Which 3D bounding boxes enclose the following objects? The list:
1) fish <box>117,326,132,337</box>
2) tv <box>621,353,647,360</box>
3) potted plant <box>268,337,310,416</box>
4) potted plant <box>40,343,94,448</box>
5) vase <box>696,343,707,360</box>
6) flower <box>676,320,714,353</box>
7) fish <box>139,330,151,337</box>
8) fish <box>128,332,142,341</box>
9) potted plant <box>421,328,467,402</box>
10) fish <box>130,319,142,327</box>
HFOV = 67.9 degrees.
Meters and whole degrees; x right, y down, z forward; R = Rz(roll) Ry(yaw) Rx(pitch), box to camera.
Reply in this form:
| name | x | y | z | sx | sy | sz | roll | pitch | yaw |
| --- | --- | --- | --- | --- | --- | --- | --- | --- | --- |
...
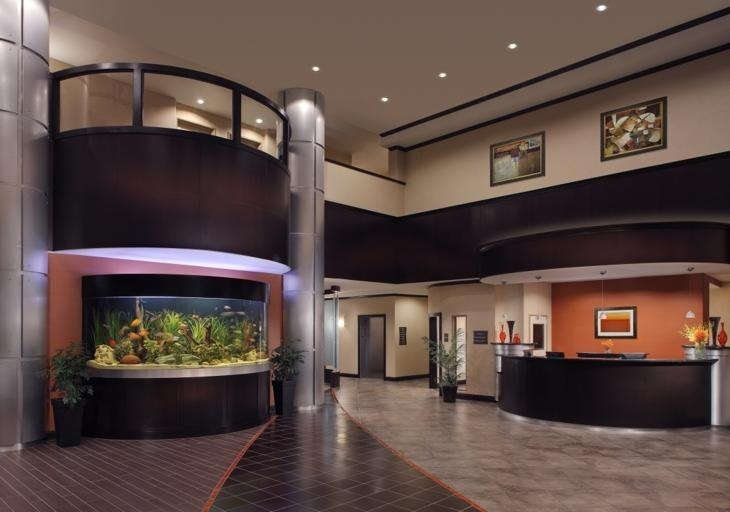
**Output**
| name | x | y | z | sx | sy | sz | roll | pitch | yaw |
| --- | --- | --- | --- | --- | --- | --- | --- | --- | --- |
| fish | -4.173 | 1.299 | 9.384 | 0.223 | 0.174 | 0.016 | 1 | -4 | 5 |
| tv | 6.029 | 2.222 | 12.175 | 0.424 | 0.087 | 2.269 | -1 | -6 | 24 |
| potted plant | -1.757 | 2.641 | 11.973 | 0.641 | 1.545 | 0.713 | -2 | -5 | 35 |
| potted plant | -4.992 | 2.299 | 9.148 | 0.727 | 1.628 | 0.613 | -3 | -6 | 44 |
| vase | 7.300 | 2.077 | 11.750 | 0.257 | 0.287 | 0.261 | 1 | -3 | 30 |
| flower | 7.497 | 1.776 | 12.278 | 0.687 | 0.753 | 0.672 | 1 | -1 | -23 |
| fish | -3.839 | 1.329 | 9.396 | 0.118 | 0.117 | 0.116 | 4 | 35 | 8 |
| fish | -3.999 | 1.386 | 9.380 | 0.170 | 0.097 | 0.127 | 4 | -5 | -5 |
| potted plant | 2.584 | 3.163 | 15.811 | 1.800 | 2.073 | 1.547 | 5 | -9 | -39 |
| fish | -3.981 | 1.159 | 9.393 | 0.113 | 0.089 | 0.147 | 14 | 23 | 29 |
